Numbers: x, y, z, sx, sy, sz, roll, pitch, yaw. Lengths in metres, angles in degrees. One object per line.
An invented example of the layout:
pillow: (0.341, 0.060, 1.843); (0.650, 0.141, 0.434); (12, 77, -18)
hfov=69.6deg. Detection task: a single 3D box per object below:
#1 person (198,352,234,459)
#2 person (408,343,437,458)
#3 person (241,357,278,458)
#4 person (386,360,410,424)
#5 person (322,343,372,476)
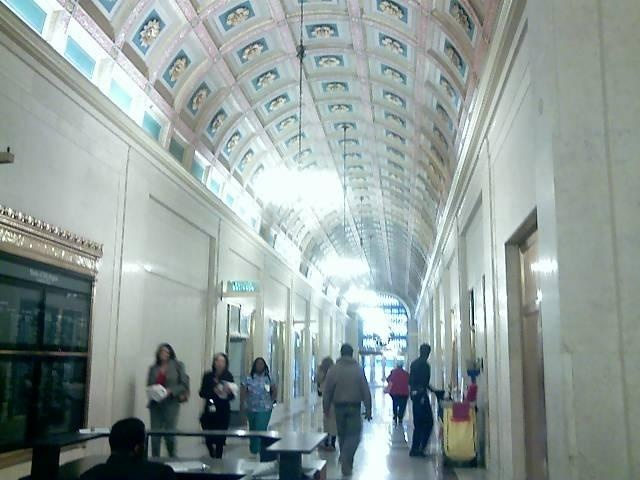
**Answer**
person: (-1.763, 2.854, 8.006); (0.603, 1.755, 1.255); (3, -16, -14)
person: (2.009, 3.213, 9.343); (0.550, 2.200, 1.268); (-4, -16, 12)
person: (-1.127, 2.843, 8.506); (0.623, 1.269, 0.313); (2, -15, -11)
person: (2.245, 4.516, 13.477); (0.620, 1.710, 1.967); (-3, -17, 8)
person: (0.455, 2.802, 7.709); (0.721, 2.093, 0.938); (6, -17, -25)
